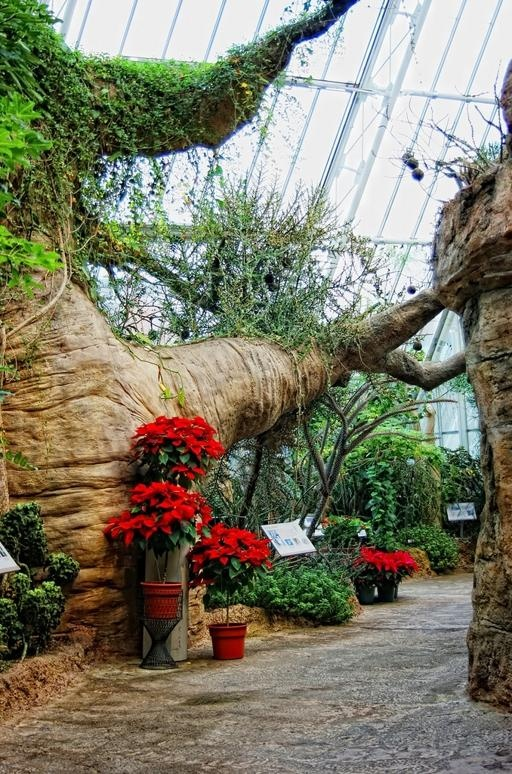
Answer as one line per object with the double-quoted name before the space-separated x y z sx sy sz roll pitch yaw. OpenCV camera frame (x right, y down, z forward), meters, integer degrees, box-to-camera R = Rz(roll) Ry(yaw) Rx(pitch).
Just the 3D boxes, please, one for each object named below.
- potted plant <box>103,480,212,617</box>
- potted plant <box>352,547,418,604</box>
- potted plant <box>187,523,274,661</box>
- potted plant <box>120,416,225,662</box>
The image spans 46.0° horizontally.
"potted plant" -0.566 0.845 3.610 0.561 0.451 0.527 -3 -10 11
"potted plant" 1.454 2.201 6.964 0.621 0.645 0.873 -2 -11 32
"potted plant" -0.182 1.304 3.820 0.663 0.701 0.602 4 -26 -13
"potted plant" -0.561 0.936 3.709 0.672 1.439 0.638 -5 -16 24
